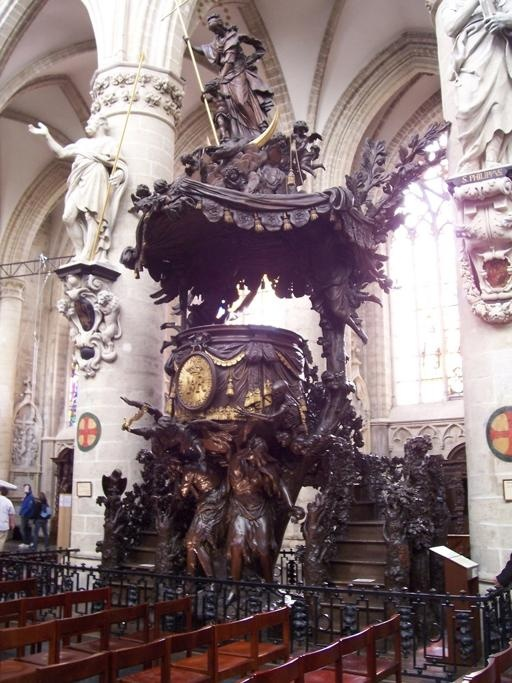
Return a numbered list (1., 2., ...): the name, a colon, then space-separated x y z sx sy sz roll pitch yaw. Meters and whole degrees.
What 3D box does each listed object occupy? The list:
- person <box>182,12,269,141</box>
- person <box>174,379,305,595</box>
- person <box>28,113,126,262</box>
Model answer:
1. person: -0.227 -2.787 8.353 0.898 1.693 0.586 6 -21 -12
2. person: -0.146 1.363 7.569 1.122 1.828 0.704 3 -20 -5
3. person: -2.328 -2.091 10.746 1.035 2.233 0.651 0 -20 3
